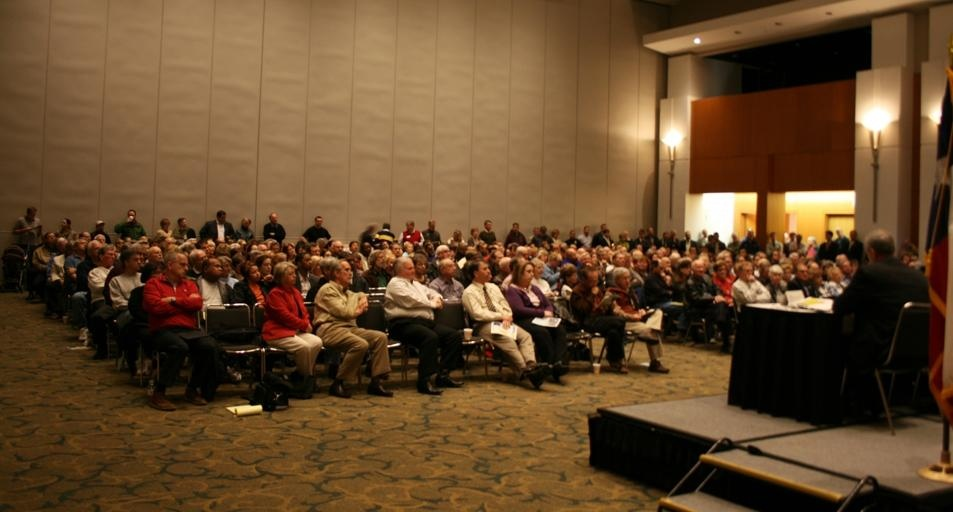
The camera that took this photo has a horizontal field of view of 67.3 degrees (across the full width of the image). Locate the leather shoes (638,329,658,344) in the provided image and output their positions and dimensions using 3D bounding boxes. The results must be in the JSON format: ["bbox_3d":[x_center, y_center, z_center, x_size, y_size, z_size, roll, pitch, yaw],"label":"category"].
[{"bbox_3d":[3.324,1.550,13.741,0.362,0.235,0.212,13,-5,4],"label":"leather shoes"}]

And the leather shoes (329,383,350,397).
[{"bbox_3d":[-2.315,2.296,12.258,0.199,0.149,0.387,3,-6,-38],"label":"leather shoes"}]

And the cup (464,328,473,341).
[{"bbox_3d":[-0.140,1.445,13.066,0.187,0.190,0.186,0,-4,0],"label":"cup"}]

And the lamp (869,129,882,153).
[{"bbox_3d":[12.217,-3.477,21.958,0.317,0.657,0.134,2,4,23],"label":"lamp"}]

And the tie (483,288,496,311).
[{"bbox_3d":[0.218,0.829,13.328,0.122,0.605,0.070,-13,-25,-22],"label":"tie"}]

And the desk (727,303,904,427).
[{"bbox_3d":[4.789,1.625,11.142,1.900,1.324,1.812,5,-3,-19],"label":"desk"}]

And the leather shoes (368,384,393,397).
[{"bbox_3d":[-1.666,2.315,12.399,0.517,0.206,0.186,2,-1,3],"label":"leather shoes"}]

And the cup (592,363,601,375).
[{"bbox_3d":[2.322,2.157,13.716,0.156,0.163,0.158,-1,-4,0],"label":"cup"}]

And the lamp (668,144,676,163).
[{"bbox_3d":[7.194,-3.690,26.312,0.292,0.583,0.122,2,4,23],"label":"lamp"}]

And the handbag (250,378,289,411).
[{"bbox_3d":[-3.411,2.338,11.874,0.464,0.387,0.589,-1,-6,-39],"label":"handbag"}]

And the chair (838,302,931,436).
[{"bbox_3d":[6.214,1.556,10.556,1.502,1.820,0.838,-3,5,-43],"label":"chair"}]

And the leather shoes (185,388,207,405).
[{"bbox_3d":[-4.577,2.317,11.827,0.387,0.241,0.219,3,4,32],"label":"leather shoes"}]
